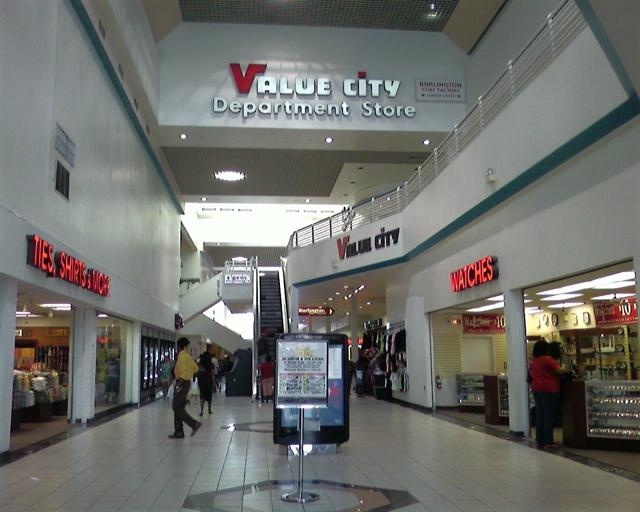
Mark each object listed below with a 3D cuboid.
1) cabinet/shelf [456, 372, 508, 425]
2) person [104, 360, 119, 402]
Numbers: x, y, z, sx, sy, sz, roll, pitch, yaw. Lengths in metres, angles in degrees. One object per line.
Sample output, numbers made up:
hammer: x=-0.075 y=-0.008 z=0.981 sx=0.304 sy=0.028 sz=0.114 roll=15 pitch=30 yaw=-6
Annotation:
cabinet/shelf: x=3.677 y=3.173 z=10.950 sx=0.603 sy=1.023 sz=2.569 roll=-2 pitch=-11 yaw=7
person: x=-5.655 y=3.368 z=13.080 sx=0.216 sy=1.163 sz=1.404 roll=3 pitch=-11 yaw=-17
